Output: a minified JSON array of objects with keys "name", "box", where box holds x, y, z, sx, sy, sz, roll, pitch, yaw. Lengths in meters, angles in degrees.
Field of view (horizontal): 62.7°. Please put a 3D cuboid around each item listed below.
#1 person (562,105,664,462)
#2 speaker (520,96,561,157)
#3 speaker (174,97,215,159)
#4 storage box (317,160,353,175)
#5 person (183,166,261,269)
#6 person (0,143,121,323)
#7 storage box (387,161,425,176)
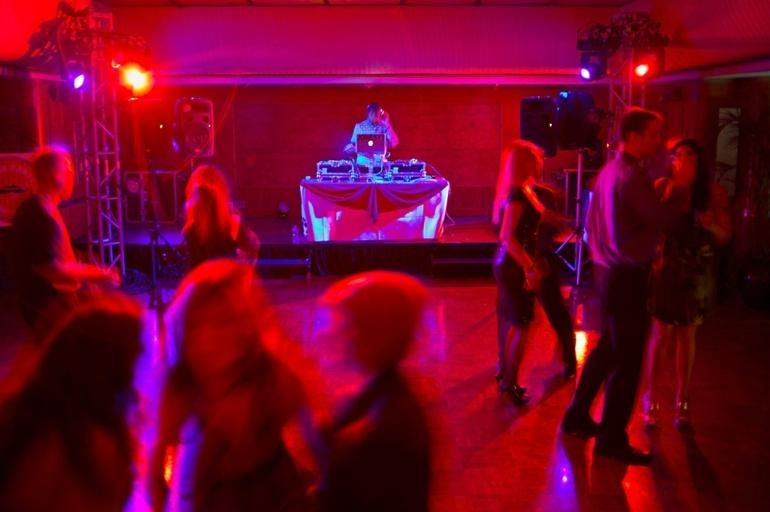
[{"name":"person","box":[1.778,0.215,4.796,0.644,2.605,0.437,5,9,33]},{"name":"speaker","box":[1.669,-1.399,6.755,0.418,0.649,0.140,-5,15,-10]},{"name":"speaker","box":[-2.896,-1.920,9.530,0.601,0.859,0.454,-1,8,-10]},{"name":"storage box","box":[-0.750,-1.315,9.582,0.541,0.200,0.275,2,9,7]},{"name":"person","box":[-1.249,-0.294,4.820,0.542,0.759,0.326,-3,9,-20]},{"name":"person","box":[-2.403,-0.144,4.664,0.653,1.231,0.423,-3,9,-23]},{"name":"storage box","box":[0.333,-1.302,9.555,0.573,0.240,0.427,0,9,-3]}]
